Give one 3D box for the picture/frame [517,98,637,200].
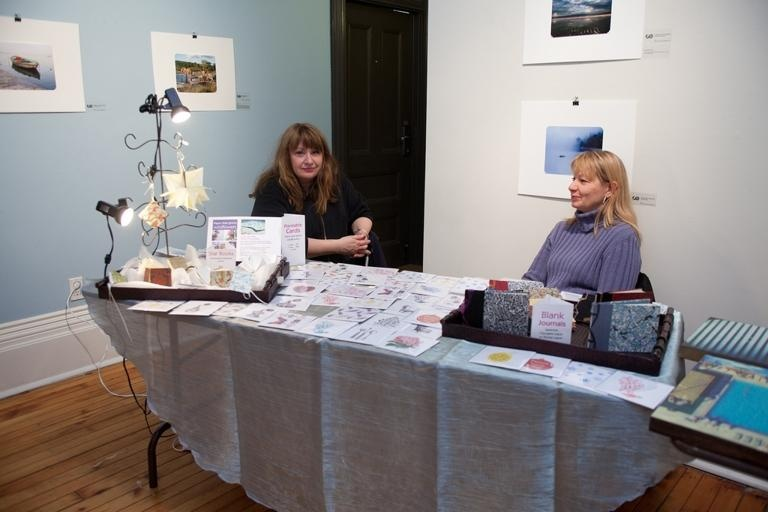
[{"bbox_3d":[1.230,-0.679,3.230,0.709,0.590,0.027,6,14,29],"label":"picture/frame"}]
